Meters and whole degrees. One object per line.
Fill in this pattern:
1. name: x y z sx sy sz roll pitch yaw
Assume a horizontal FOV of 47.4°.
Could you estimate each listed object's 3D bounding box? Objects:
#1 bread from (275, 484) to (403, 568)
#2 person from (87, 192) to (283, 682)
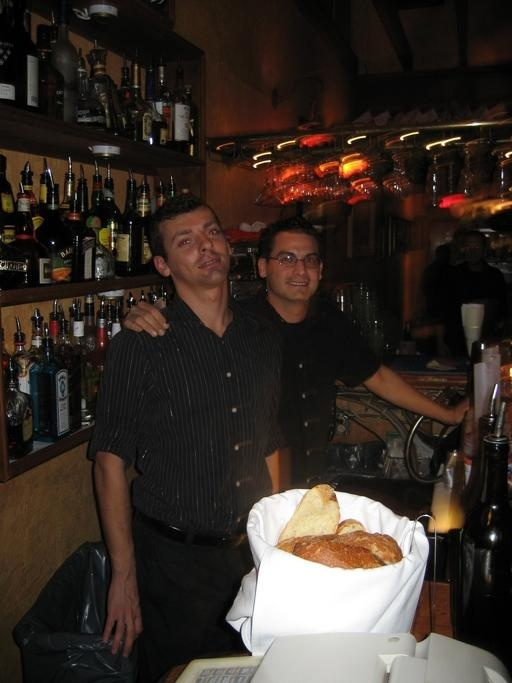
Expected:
1. bread: 0.098 0.236 0.712 0.138 0.058 0.199 -3 7 -10
2. person: -0.179 0.253 1.552 0.445 1.279 0.430 -1 7 11
